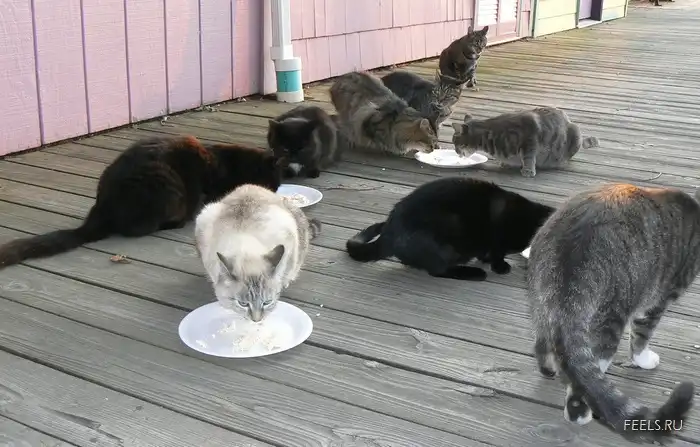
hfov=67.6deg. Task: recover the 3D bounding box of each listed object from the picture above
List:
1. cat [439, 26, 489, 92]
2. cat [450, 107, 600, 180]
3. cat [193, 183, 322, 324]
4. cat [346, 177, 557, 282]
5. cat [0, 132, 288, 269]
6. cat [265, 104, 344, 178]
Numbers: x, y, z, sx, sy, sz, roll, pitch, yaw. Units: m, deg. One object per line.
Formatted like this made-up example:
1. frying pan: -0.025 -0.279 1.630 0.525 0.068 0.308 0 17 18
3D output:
1. cat: 1.537 -2.211 6.929 0.404 0.756 0.827 -9 24 -20
2. cat: 1.431 -0.663 4.193 1.264 0.482 0.408 -7 17 -10
3. cat: -0.441 0.059 2.475 0.500 0.265 0.661 7 53 -22
4. cat: 0.489 0.014 2.872 1.067 0.420 0.462 -1 35 -3
5. cat: -1.062 -0.274 3.410 2.018 0.574 0.571 -18 46 -25
6. cat: -0.334 -0.670 4.203 0.460 0.373 0.697 3 42 1
